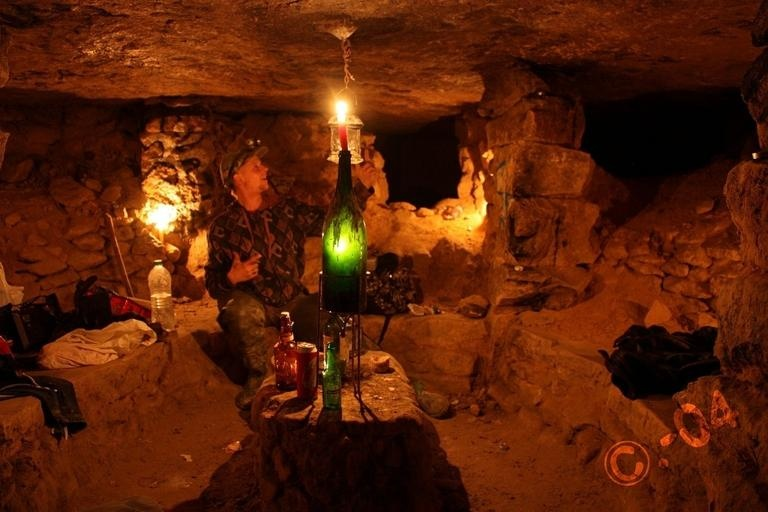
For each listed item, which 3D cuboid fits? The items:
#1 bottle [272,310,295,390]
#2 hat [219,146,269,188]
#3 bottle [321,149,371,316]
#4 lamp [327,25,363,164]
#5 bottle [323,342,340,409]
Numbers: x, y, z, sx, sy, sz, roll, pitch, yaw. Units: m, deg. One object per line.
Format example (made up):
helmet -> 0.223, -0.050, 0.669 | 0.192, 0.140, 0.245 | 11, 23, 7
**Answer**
bottle -> -0.917, 0.870, 5.454 | 0.193, 0.706, 0.260 | 0, 3, -9
hat -> -1.641, -1.075, 6.894 | 0.547, 0.530, 0.330 | 1, 3, -4
bottle -> -0.340, -0.182, 5.090 | 0.375, 1.414, 0.294 | 1, 3, -6
lamp -> -0.386, -1.675, 6.137 | 0.472, 1.330, 0.425 | 8, 22, 20
bottle -> -0.451, 1.025, 5.097 | 0.151, 0.583, 0.157 | 1, 3, 0
